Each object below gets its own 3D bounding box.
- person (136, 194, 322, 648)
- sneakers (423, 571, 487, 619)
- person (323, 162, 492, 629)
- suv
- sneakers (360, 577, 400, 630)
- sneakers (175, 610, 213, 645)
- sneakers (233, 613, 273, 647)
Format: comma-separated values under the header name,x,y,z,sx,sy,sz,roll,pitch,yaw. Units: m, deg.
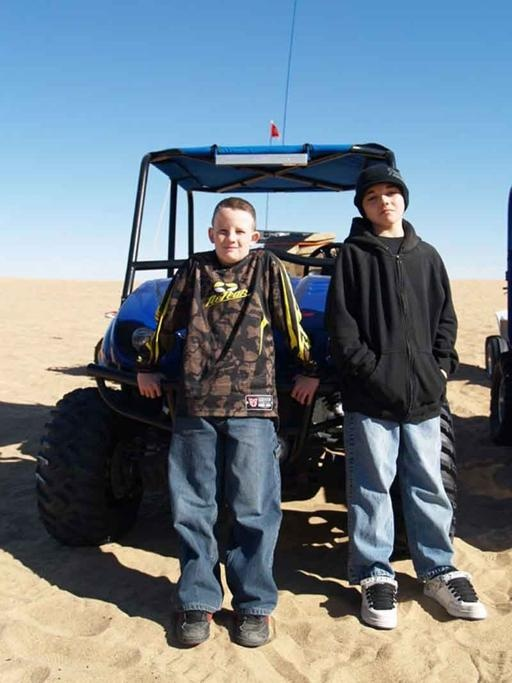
name,x,y,z,sx,sy,sz,roll,pitch,yaw
person,-0.117,0.249,2.311,0.701,1.598,0.576,0,5,5
sneakers,0.749,0.955,2.282,0.095,0.101,0.262,-4,-12,-19
person,0.578,0.165,2.381,0.600,1.753,0.540,0,5,6
suv,-0.146,-0.172,3.805,2.002,1.934,2.700,1,-2,6
sneakers,0.454,0.963,2.251,0.132,0.163,0.127,0,5,9
sneakers,-0.227,1.010,2.127,0.068,0.065,0.164,1,-1,6
sneakers,-0.009,1.023,2.172,0.077,0.059,0.149,1,-2,10
